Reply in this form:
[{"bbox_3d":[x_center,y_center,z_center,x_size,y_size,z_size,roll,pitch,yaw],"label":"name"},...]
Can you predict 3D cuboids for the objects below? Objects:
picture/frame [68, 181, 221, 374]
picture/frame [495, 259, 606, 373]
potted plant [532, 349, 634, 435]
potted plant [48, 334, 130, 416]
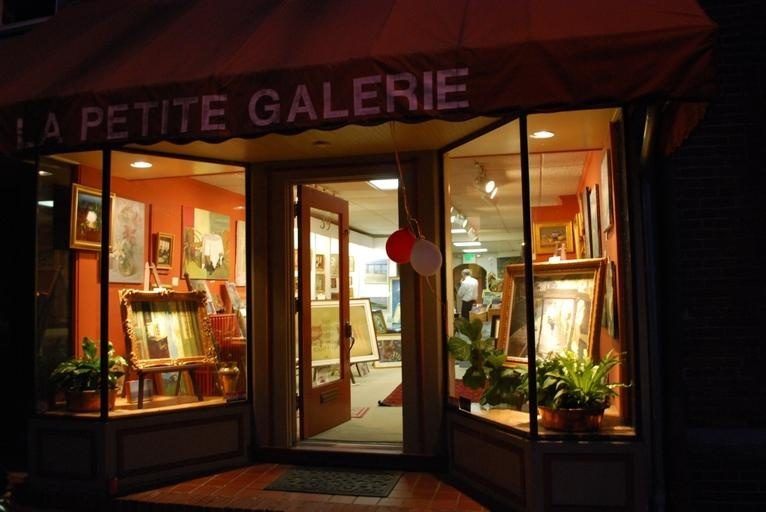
[{"bbox_3d":[-2.511,0.238,6.605,0.715,1.930,1.909,-2,-3,31],"label":"picture/frame"},{"bbox_3d":[1.503,0.536,5.680,0.965,1.143,0.080,3,-10,1],"label":"picture/frame"},{"bbox_3d":[1.679,1.115,5.448,0.667,0.492,0.677,0,-5,7],"label":"potted plant"},{"bbox_3d":[-2.908,1.158,6.364,0.654,0.625,0.662,3,-7,-18],"label":"potted plant"}]
